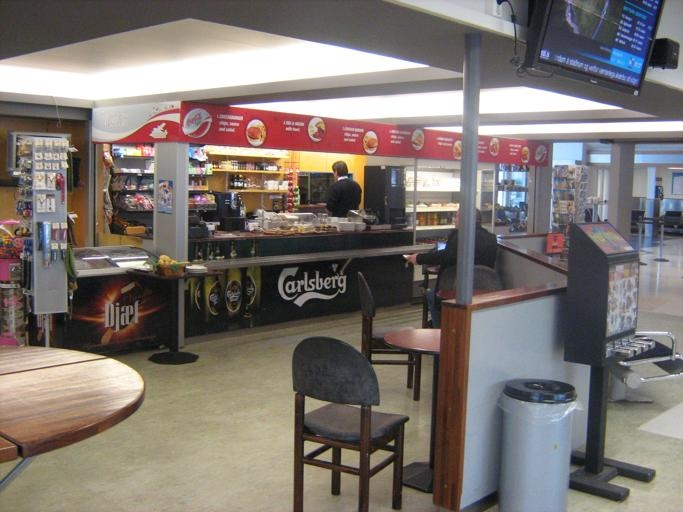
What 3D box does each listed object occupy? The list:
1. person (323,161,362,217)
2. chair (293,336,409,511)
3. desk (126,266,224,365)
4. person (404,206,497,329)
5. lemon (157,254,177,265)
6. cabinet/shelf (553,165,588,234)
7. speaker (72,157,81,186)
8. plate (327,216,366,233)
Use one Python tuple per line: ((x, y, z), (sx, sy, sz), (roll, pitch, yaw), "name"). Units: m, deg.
((0.047, -1.108, 9.063), (0.553, 0.893, 0.661), (1, 9, -2), "person")
((0.054, 1.048, 3.460), (0.598, 1.222, 0.507), (6, 10, 26), "chair")
((-1.971, 0.623, 6.370), (0.817, 1.117, 0.674), (9, 12, 42), "desk")
((1.286, 0.282, 6.417), (1.077, 1.697, 1.002), (7, -3, -6), "person")
((-1.961, 0.048, 6.151), (0.144, 0.088, 0.190), (3, 4, -36), "lemon")
((6.023, -1.546, 14.491), (0.856, 1.727, 1.408), (5, 9, 22), "cabinet/shelf")
((-4.456, -1.430, 9.247), (0.112, 0.514, 0.195), (-1, 9, -18), "speaker")
((0.124, -0.498, 8.580), (0.608, 0.198, 0.348), (-3, 10, -29), "plate")
